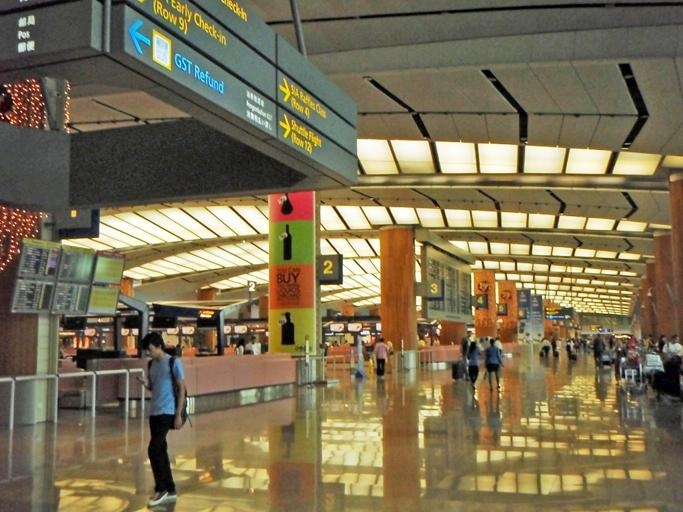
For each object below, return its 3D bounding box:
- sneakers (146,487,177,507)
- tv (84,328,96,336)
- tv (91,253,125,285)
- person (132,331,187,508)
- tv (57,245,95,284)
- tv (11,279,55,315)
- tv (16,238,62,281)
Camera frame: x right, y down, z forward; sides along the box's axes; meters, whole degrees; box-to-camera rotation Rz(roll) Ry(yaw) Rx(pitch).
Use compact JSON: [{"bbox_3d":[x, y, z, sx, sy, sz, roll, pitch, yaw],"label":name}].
[{"bbox_3d":[-1.977,2.663,6.254,0.113,0.120,0.306,-16,-21,40],"label":"sneakers"},{"bbox_3d":[-17.179,5.075,38.767,0.685,0.384,2.908,-1,-10,-23],"label":"tv"},{"bbox_3d":[-5.859,0.298,14.181,0.115,0.601,0.852,2,-3,20],"label":"tv"},{"bbox_3d":[-2.065,1.809,6.664,0.476,1.892,0.785,-2,-10,-19],"label":"person"},{"bbox_3d":[-6.157,0.184,13.095,0.125,0.642,0.899,2,-2,20],"label":"tv"},{"bbox_3d":[-6.627,0.845,12.102,0.105,0.544,0.767,1,-4,29],"label":"tv"},{"bbox_3d":[-6.568,0.068,12.245,0.306,0.762,0.885,1,-6,18],"label":"tv"}]
